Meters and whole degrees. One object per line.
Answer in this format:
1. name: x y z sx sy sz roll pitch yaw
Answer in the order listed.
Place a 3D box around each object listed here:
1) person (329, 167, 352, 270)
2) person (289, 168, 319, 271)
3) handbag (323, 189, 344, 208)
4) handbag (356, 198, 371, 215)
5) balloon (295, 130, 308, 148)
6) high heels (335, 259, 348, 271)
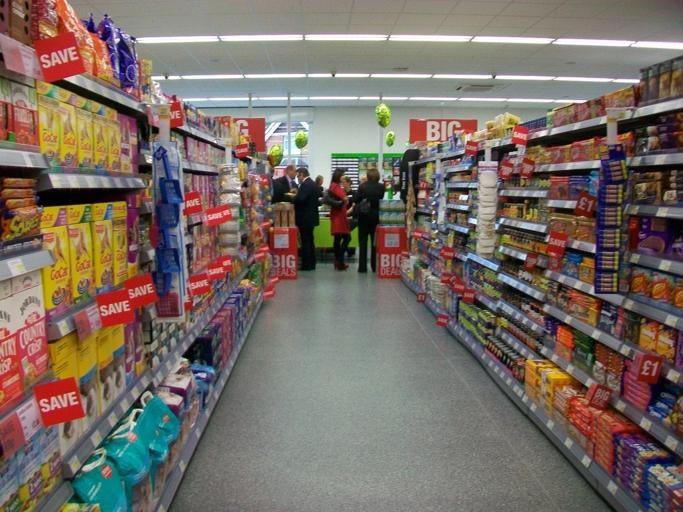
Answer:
1. person: -0.051 -0.781 9.887 0.460 2.134 1.119 1 9 1
2. person: -0.735 -0.746 9.506 0.545 2.151 0.873 0 9 -4
3. handbag: -0.165 -1.166 9.347 0.401 0.369 0.281 3 10 15
4. handbag: 0.440 -0.956 8.939 0.235 0.357 0.116 3 -15 6
5. balloon: -1.111 -3.171 12.399 0.278 0.477 1.063 -1 10 -6
6. high heels: -0.036 0.210 9.847 0.343 0.196 0.129 -3 7 14
